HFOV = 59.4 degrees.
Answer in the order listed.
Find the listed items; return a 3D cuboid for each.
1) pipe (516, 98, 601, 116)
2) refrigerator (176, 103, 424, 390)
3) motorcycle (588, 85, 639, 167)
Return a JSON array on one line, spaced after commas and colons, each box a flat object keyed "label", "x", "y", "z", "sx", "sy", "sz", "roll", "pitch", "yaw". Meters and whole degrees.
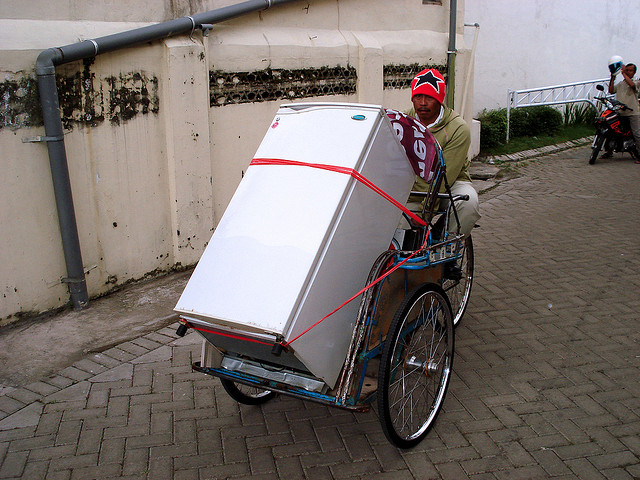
[{"label": "pipe", "x": 6.404, "y": -3.598, "z": 15.126, "sx": 3.087, "sy": 0.268, "sz": 1.002, "roll": -12, "pitch": 21, "yaw": -30}, {"label": "refrigerator", "x": -0.089, "y": 0.056, "z": 4.259, "sx": 0.990, "sy": 1.845, "sz": 1.088, "roll": 5, "pitch": -22, "yaw": 38}, {"label": "motorcycle", "x": 6.532, "y": -2.575, "z": 12.700, "sx": 2.050, "sy": 1.421, "sz": 0.856, "roll": -8, "pitch": 19, "yaw": -35}]
